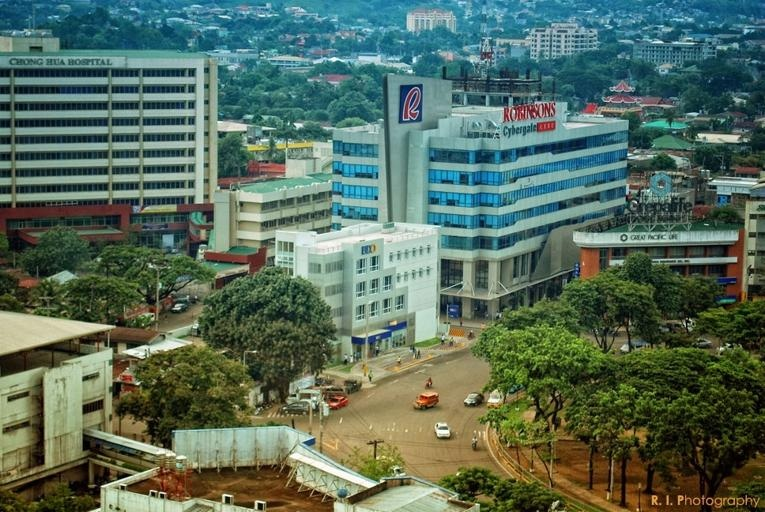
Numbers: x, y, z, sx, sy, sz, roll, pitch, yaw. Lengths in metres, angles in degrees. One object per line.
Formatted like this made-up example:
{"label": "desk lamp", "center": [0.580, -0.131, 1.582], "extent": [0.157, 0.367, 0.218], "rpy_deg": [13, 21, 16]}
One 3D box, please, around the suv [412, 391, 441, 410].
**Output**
{"label": "suv", "center": [6.647, 21.974, 210.500], "extent": [2.301, 2.055, 4.018], "rpy_deg": [6, 13, 38]}

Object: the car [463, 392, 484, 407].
{"label": "car", "center": [13.812, 21.891, 211.424], "extent": [2.259, 1.708, 3.147], "rpy_deg": [3, 12, 30]}

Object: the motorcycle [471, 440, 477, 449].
{"label": "motorcycle", "center": [13.332, 27.078, 199.889], "extent": [1.175, 0.990, 0.939], "rpy_deg": [-9, 12, -30]}
